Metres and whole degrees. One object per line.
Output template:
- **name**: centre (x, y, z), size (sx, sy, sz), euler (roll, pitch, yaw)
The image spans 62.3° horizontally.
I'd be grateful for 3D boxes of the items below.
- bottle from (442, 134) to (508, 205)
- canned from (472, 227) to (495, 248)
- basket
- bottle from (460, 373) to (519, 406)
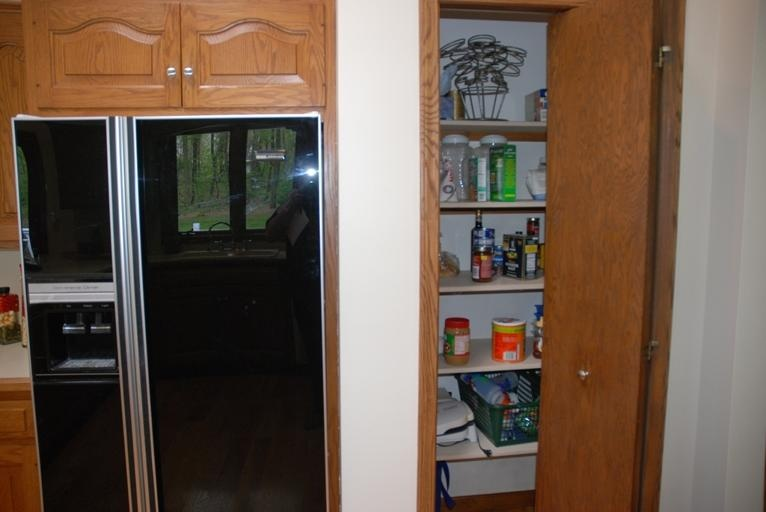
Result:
- **bottle**: centre (0.429, -0.451, 3.336), size (0.468, 0.422, 0.248), euler (0, 2, -5)
- **canned**: centre (0.519, -0.100, 3.340), size (0.102, 0.070, 0.100), euler (2, 2, 25)
- **basket**: centre (0.650, 0.813, 3.390), size (0.307, 0.203, 0.425), euler (-1, 0, -12)
- **bottle**: centre (0.579, 0.712, 3.438), size (0.161, 0.070, 0.224), euler (0, 2, -22)
